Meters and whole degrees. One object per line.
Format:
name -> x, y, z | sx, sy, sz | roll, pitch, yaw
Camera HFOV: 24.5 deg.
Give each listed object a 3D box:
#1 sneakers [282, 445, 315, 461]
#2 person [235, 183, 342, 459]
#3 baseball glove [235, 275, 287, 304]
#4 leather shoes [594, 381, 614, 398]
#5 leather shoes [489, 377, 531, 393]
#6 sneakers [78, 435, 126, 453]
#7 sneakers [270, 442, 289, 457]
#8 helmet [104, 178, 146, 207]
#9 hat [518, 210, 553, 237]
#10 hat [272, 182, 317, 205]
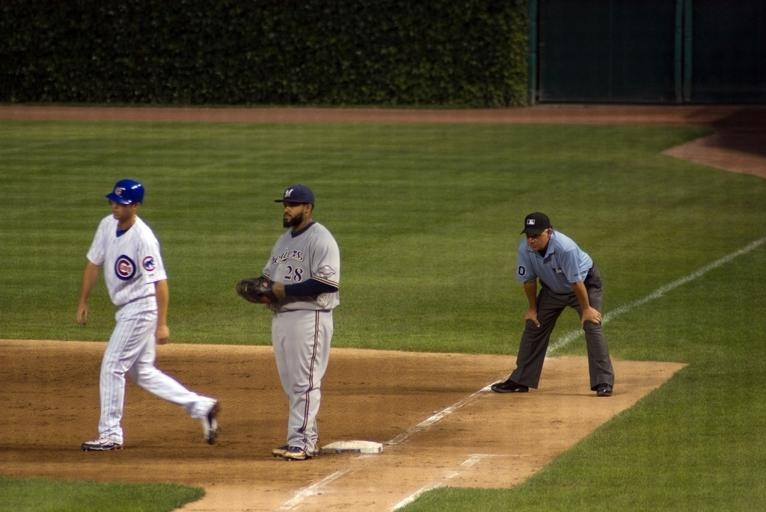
sneakers -> -1.205, 2.861, 25.103 | 0.198, 0.190, 0.428 | -4, -11, 40
person -> -1.265, 0.970, 25.056 | 1.075, 3.930, 0.523 | 7, 9, 15
baseball glove -> -1.733, 0.508, 24.946 | 0.581, 0.253, 0.395 | 9, -2, -32
leather shoes -> 3.340, 2.055, 26.720 | 0.287, 0.213, 0.231 | 5, 7, 5
leather shoes -> 1.907, 2.026, 26.997 | 0.640, 0.231, 0.223 | 6, -3, 5
sneakers -> -4.036, 2.743, 25.314 | 0.610, 0.232, 0.220 | 3, 1, -1
sneakers -> -1.484, 2.825, 25.231 | 0.217, 0.173, 0.395 | 9, -5, -4
helmet -> -3.734, -0.859, 25.230 | 0.603, 0.257, 0.434 | 12, 8, -3
hat -> 2.346, -0.469, 26.485 | 0.377, 0.255, 0.502 | 3, 11, 30
hat -> -1.202, -0.850, 25.112 | 0.681, 0.299, 0.448 | 3, 1, -12
